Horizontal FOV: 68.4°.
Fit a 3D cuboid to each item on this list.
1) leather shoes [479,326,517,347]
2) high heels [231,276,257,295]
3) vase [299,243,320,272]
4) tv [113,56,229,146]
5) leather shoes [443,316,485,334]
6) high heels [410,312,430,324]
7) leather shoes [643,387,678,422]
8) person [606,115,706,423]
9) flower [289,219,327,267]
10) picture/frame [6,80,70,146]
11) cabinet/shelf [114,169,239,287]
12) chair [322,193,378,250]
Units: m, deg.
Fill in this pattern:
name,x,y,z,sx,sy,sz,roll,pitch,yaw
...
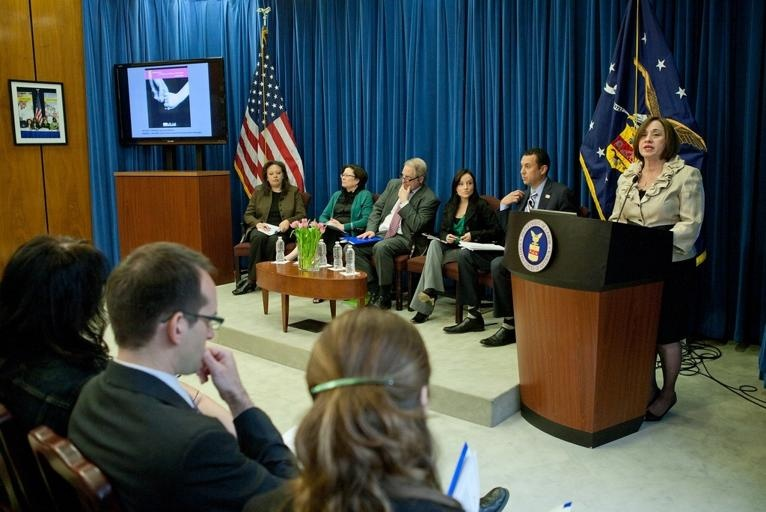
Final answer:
name,x,y,z,sx,sy,sz,roll,pitch,yaw
leather shoes,1.020,0.710,4.940,0.362,0.155,0.138,-3,-1,-21
high heels,-1.622,0.359,6.707,0.120,0.180,0.380,3,2,29
vase,-0.710,0.009,5.497,0.206,0.275,0.217,5,7,36
tv,-2.762,-1.996,7.285,1.567,1.041,0.166,3,14,16
leather shoes,0.772,0.650,5.290,0.390,0.195,0.147,0,0,-10
high heels,0.347,0.609,5.522,0.083,0.084,0.174,-1,-4,37
leather shoes,1.886,1.020,3.844,0.264,0.108,0.092,-43,40,-20
person,1.821,0.088,3.833,0.531,2.001,0.430,8,16,35
flower,-0.719,-0.102,5.441,0.261,0.516,0.299,4,-4,-30
picture/frame,-4.263,-1.768,6.901,0.033,0.987,0.762,4,7,36
cabinet/shelf,-2.053,-0.371,5.681,1.221,1.460,0.678,2,5,26
chair,-0.352,-0.452,6.667,0.596,0.835,0.642,6,5,38
